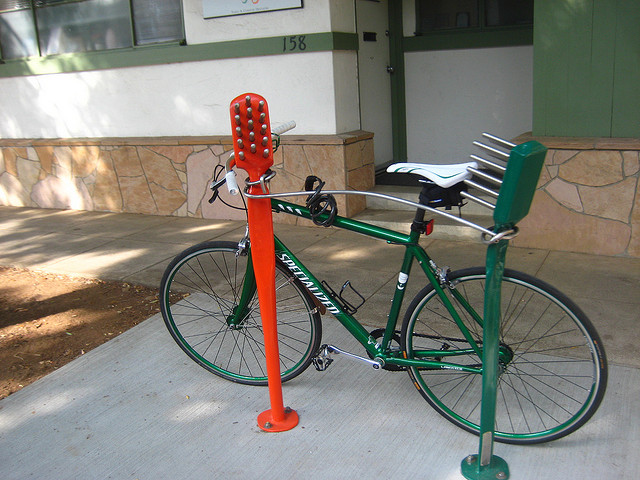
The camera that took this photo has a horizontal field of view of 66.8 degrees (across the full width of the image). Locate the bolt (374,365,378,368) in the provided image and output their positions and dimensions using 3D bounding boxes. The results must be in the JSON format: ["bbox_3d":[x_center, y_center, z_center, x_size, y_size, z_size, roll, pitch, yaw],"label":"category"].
[{"bbox_3d":[0.301,0.691,2.630,0.014,0.003,0.013,12,16,32],"label":"bolt"}]

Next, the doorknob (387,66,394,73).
[{"bbox_3d":[0.977,-2.365,6.710,0.101,0.083,0.031,-15,25,-32],"label":"doorknob"}]

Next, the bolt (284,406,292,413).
[{"bbox_3d":[-0.180,0.965,2.739,0.044,0.019,0.042,-4,20,-7],"label":"bolt"}]

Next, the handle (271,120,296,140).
[{"bbox_3d":[-0.188,-0.591,2.597,0.045,0.052,0.274,29,38,27],"label":"handle"}]
